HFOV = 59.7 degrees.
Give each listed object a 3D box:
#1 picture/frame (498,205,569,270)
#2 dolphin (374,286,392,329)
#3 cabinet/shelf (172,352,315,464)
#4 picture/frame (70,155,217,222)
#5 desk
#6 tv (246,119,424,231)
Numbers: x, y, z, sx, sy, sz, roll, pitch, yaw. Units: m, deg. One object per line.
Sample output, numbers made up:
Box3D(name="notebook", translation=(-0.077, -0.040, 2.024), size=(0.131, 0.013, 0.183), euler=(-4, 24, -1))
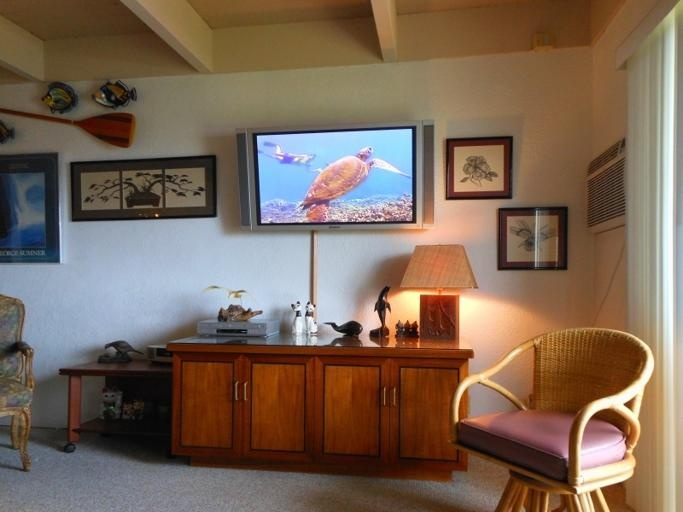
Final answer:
Box3D(name="picture/frame", translation=(1.391, -0.124, 4.213), size=(0.496, 0.422, 0.047), euler=(1, 0, 6))
Box3D(name="dolphin", translation=(0.283, 0.357, 4.194), size=(0.132, 0.265, 0.143), euler=(9, 12, 26))
Box3D(name="cabinet/shelf", translation=(-0.597, 0.930, 4.149), size=(0.955, 0.691, 0.500), euler=(1, 1, 16))
Box3D(name="picture/frame", translation=(-1.536, -0.525, 4.628), size=(1.178, 0.501, 0.093), euler=(1, 11, 7))
Box3D(name="desk", translation=(-1.563, 1.102, 4.606), size=(1.023, 0.668, 0.644), euler=(-1, -3, 10))
Box3D(name="tv", translation=(0.000, -0.591, 4.306), size=(1.439, 0.799, 0.079), euler=(0, -1, 8))
